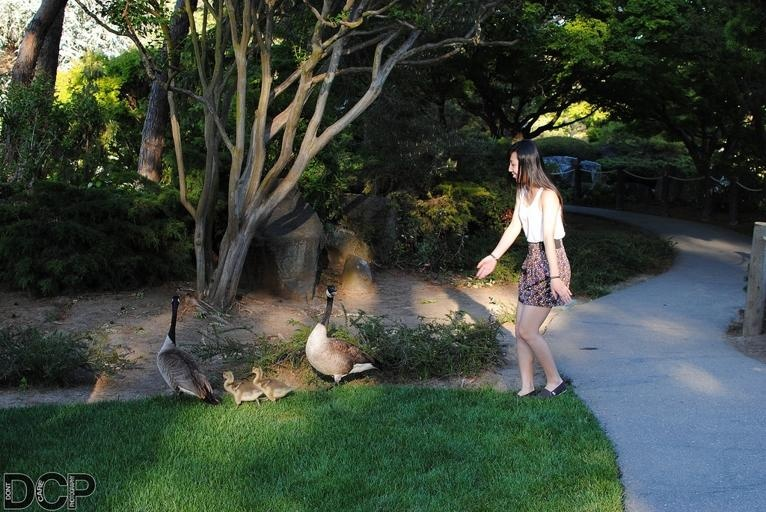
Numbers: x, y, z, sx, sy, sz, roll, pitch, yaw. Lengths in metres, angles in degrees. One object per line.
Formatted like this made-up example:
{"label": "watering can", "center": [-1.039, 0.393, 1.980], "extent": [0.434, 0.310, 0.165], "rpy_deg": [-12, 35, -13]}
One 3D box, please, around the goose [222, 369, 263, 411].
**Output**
{"label": "goose", "center": [-1.884, 1.729, 7.629], "extent": [0.713, 0.524, 0.280], "rpy_deg": [5, -1, 27]}

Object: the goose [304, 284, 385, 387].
{"label": "goose", "center": [-0.587, 1.296, 8.116], "extent": [0.632, 0.986, 0.689], "rpy_deg": [5, 13, 26]}

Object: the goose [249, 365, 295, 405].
{"label": "goose", "center": [-1.422, 1.685, 7.745], "extent": [0.582, 0.448, 0.314], "rpy_deg": [8, -6, -1]}

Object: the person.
{"label": "person", "center": [1.887, 0.245, 7.494], "extent": [0.825, 3.339, 1.062], "rpy_deg": [-6, 12, -23]}

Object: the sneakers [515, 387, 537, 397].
{"label": "sneakers", "center": [1.854, 1.760, 7.715], "extent": [0.301, 0.132, 0.111], "rpy_deg": [1, 1, -3]}
